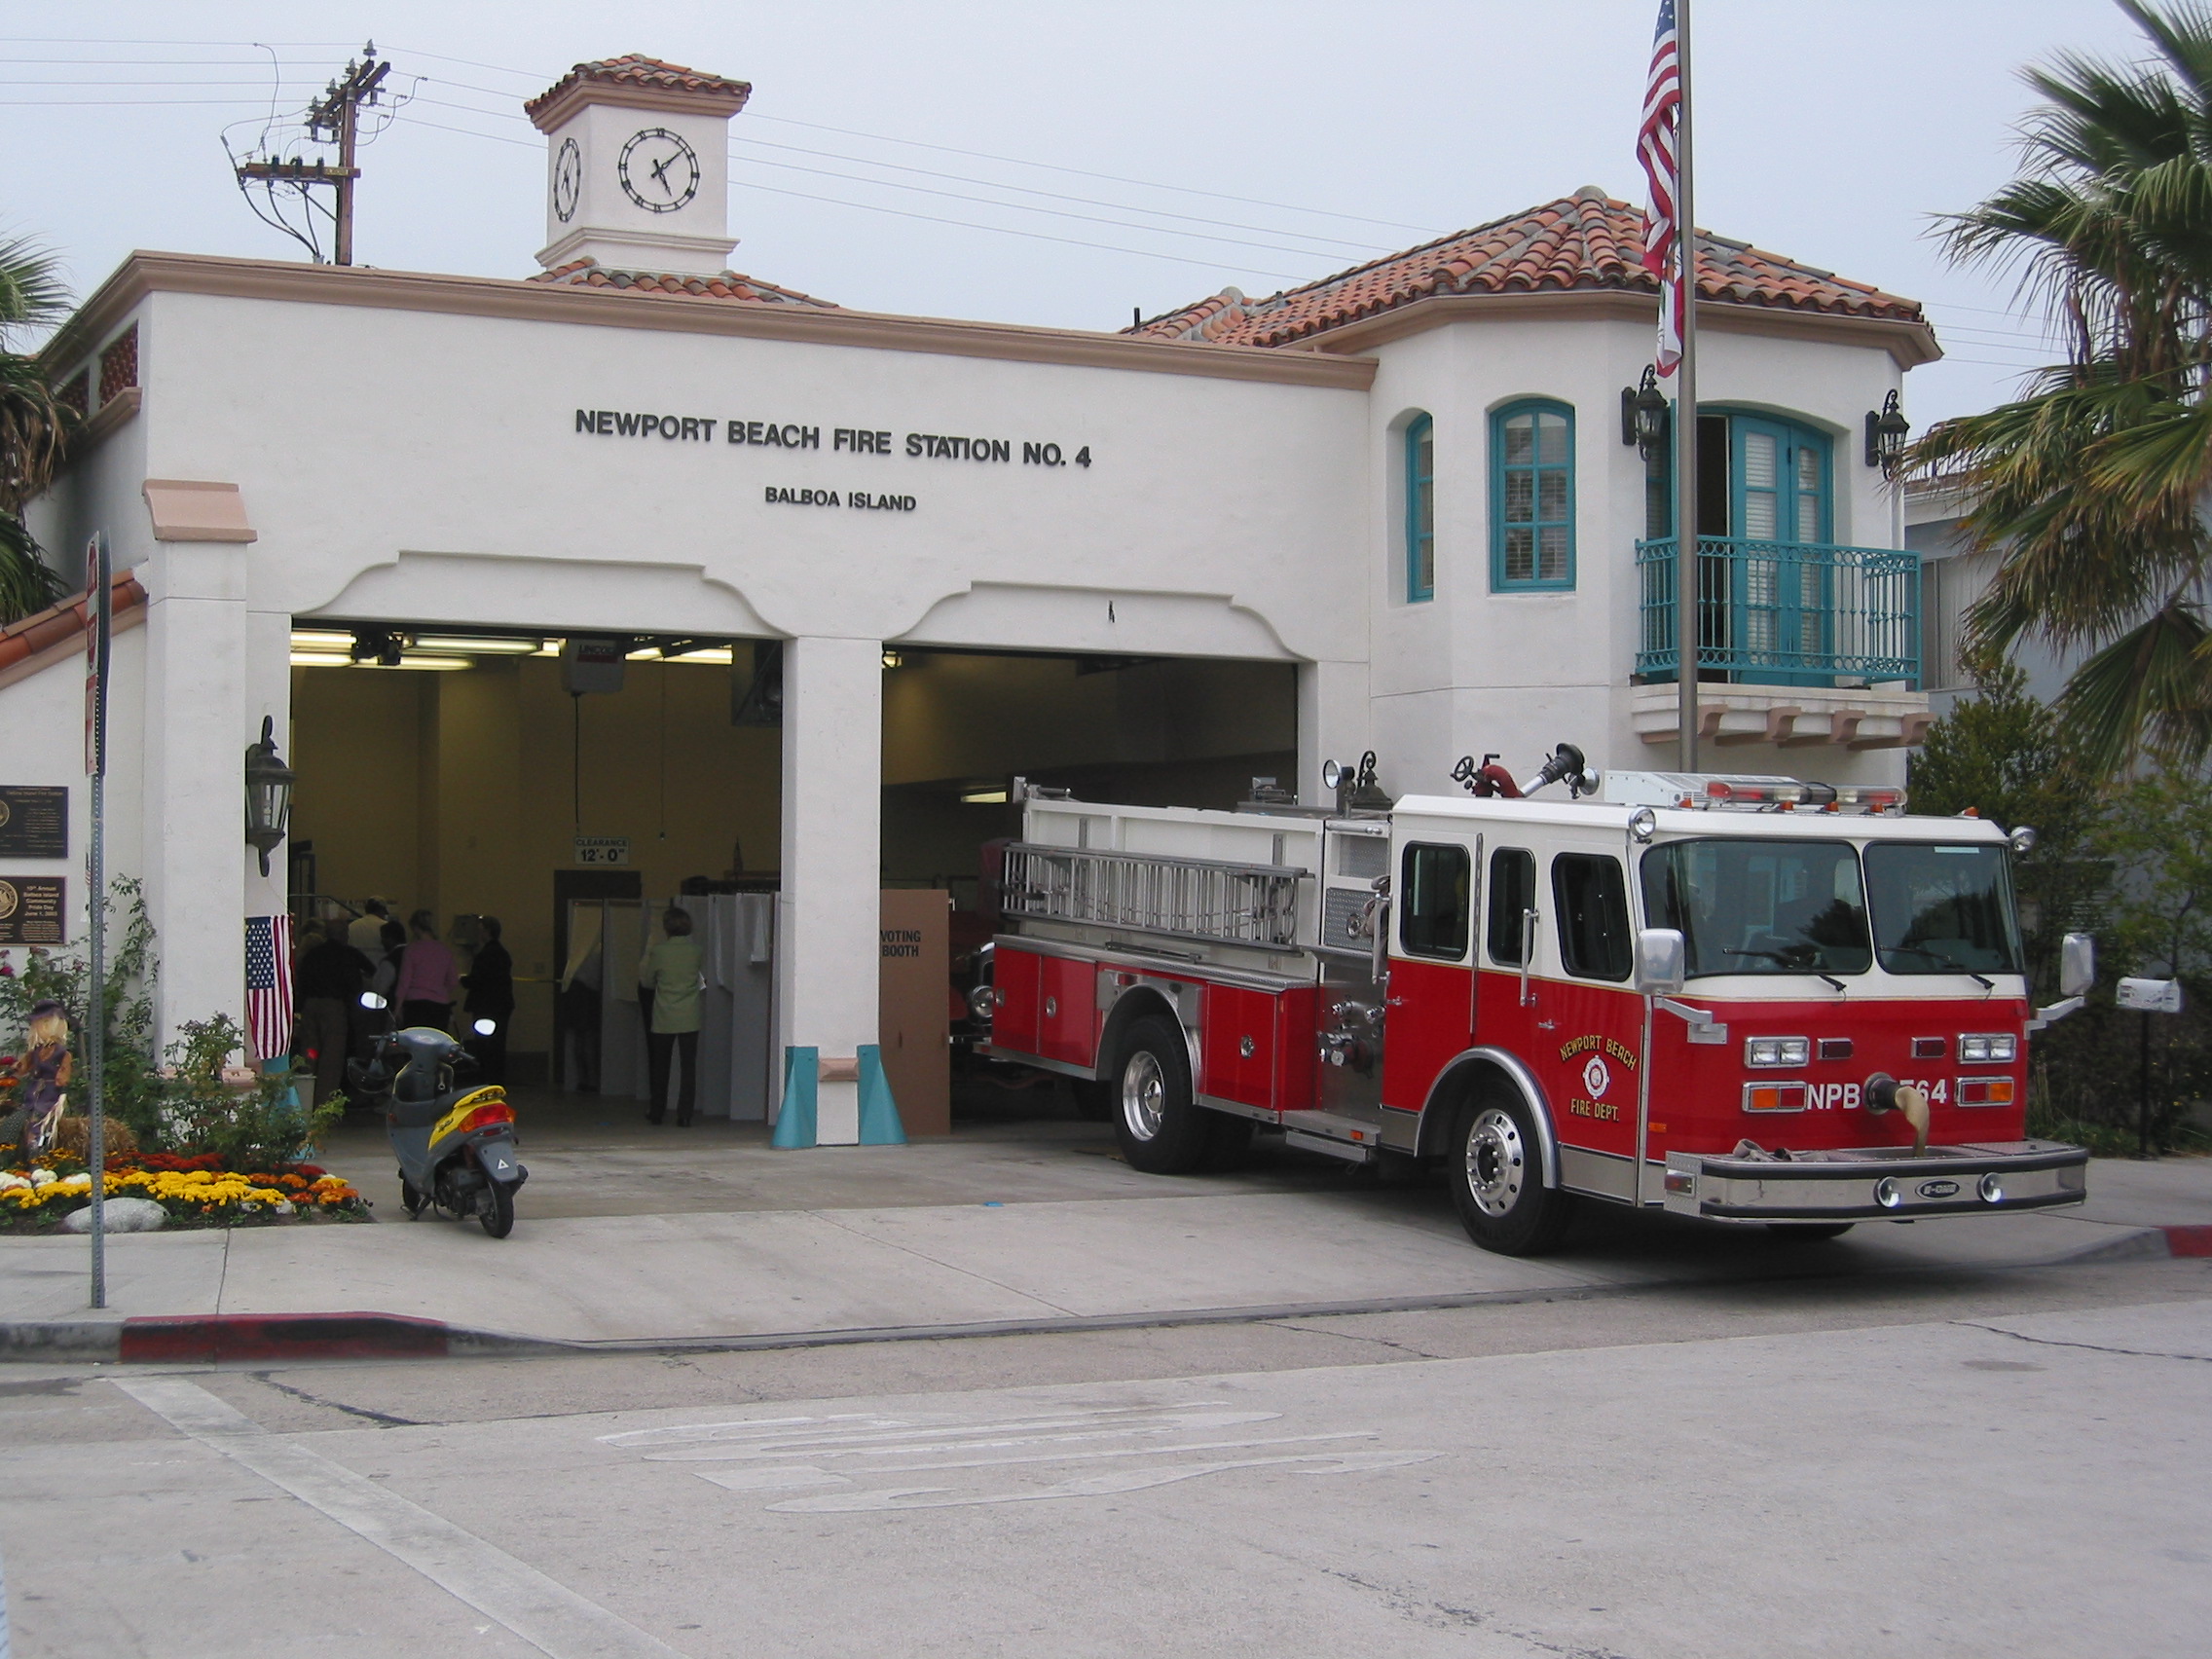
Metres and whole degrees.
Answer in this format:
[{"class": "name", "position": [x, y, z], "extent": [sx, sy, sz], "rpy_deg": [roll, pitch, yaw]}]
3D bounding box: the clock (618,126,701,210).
[{"class": "clock", "position": [-5.814, -8.527, 31.441], "extent": [1.076, 1.133, 0.077], "rpy_deg": [-1, 0, -34]}]

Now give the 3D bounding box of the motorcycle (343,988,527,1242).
[{"class": "motorcycle", "position": [-4.532, 2.034, 17.153], "extent": [0.854, 1.262, 2.118], "rpy_deg": [-5, 5, -35]}]

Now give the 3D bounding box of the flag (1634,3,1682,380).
[{"class": "flag", "position": [4.589, -5.378, 20.104], "extent": [0.349, 3.187, 0.588], "rpy_deg": [-2, -6, 13]}]

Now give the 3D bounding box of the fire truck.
[{"class": "fire truck", "position": [2.555, 1.205, 19.300], "extent": [4.004, 3.440, 10.020], "rpy_deg": [1, 1, -33]}]

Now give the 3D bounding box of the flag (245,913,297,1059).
[{"class": "flag", "position": [-6.682, 1.248, 19.425], "extent": [0.344, 1.180, 0.326], "rpy_deg": [2, -6, -22]}]
